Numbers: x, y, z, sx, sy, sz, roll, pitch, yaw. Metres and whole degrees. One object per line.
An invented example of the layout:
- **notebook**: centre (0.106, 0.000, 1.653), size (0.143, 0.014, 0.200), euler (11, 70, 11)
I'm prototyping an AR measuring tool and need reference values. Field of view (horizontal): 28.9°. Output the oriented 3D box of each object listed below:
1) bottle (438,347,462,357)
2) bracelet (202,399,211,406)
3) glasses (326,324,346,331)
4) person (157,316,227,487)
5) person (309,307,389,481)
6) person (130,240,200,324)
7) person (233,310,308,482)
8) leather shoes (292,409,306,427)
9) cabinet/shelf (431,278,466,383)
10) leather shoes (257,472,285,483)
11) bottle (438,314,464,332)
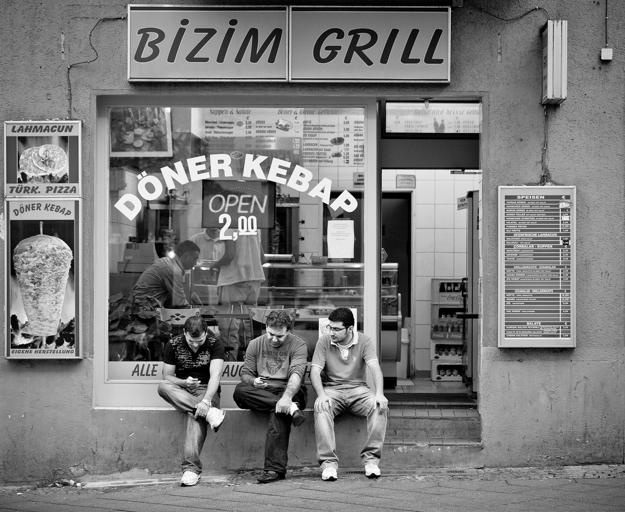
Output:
- **bottle**: centre (1.691, 1.193, 14.769), size (0.277, 0.106, 0.057), euler (2, -2, -9)
- **bracelet**: centre (-1.008, 1.431, 11.712), size (0.083, 0.062, 0.160), euler (1, -2, 2)
- **glasses**: centre (0.232, 0.719, 11.875), size (0.201, 0.069, 0.098), euler (0, -3, 39)
- **person**: centre (-1.082, 1.470, 11.945), size (0.648, 1.491, 0.839), euler (0, -1, 6)
- **person**: centre (0.350, 1.341, 11.915), size (0.684, 1.558, 0.866), euler (0, -1, 0)
- **person**: centre (-1.500, 0.254, 12.754), size (0.714, 0.902, 0.607), euler (7, 2, -13)
- **person**: centre (-0.395, 1.375, 11.792), size (0.713, 1.631, 0.608), euler (1, -2, -4)
- **leather shoes**: centre (-0.109, 1.560, 11.581), size (0.088, 0.134, 0.191), euler (-25, -31, -30)
- **cabinet/shelf**: centre (1.678, 0.906, 14.819), size (0.470, 1.164, 0.414), euler (0, 0, 5)
- **leather shoes**: centre (-0.385, 2.143, 11.591), size (0.250, 0.102, 0.107), euler (6, -9, -25)
- **bottle**: centre (1.697, 0.839, 14.708), size (0.255, 0.238, 0.140), euler (4, -43, 3)
